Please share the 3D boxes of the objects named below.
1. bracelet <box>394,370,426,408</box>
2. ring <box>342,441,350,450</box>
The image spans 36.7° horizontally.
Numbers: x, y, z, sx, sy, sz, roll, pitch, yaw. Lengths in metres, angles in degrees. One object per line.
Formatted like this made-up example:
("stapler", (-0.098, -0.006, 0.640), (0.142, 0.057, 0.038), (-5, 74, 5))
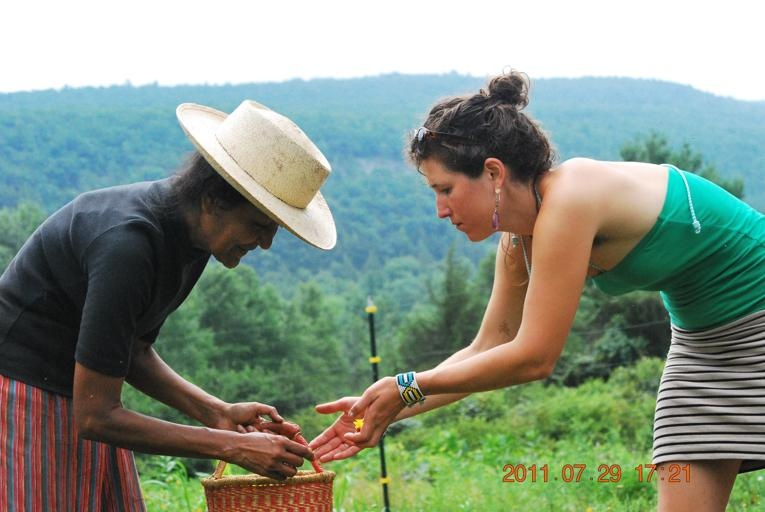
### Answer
("bracelet", (0.253, 1.599, 13.851), (0.279, 0.456, 0.425), (-28, 5, 2))
("ring", (-0.433, 2.284, 14.014), (0.038, 0.102, 0.104), (-38, 8, -29))
